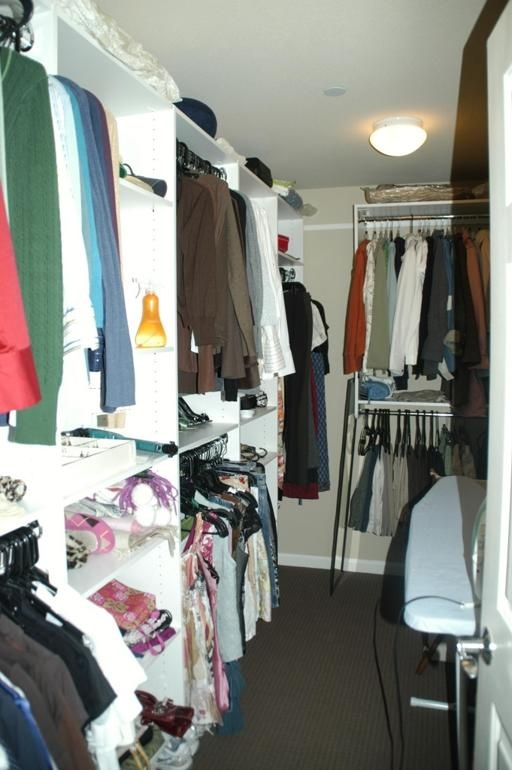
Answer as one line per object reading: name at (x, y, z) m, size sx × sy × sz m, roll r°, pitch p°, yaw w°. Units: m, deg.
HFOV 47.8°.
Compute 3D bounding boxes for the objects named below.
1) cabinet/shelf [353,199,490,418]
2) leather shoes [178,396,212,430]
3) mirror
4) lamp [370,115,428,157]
cabinet/shelf at (0.930, -0.460, 3.175) m, size 0.882 × 1.276 × 0.603 m, roll 3°, pitch 2°, yaw 43°
leather shoes at (-0.238, 0.115, 2.237) m, size 0.049 × 0.082 × 0.179 m, roll -1°, pitch -5°, yaw 23°
mirror at (0.519, 0.576, 3.426) m, size 0.144 × 1.235 × 0.509 m, roll 1°, pitch 1°, yaw 10°
lamp at (0.589, -1.044, 2.410) m, size 0.219 × 0.100 × 0.188 m, roll 2°, pitch 2°, yaw 17°
